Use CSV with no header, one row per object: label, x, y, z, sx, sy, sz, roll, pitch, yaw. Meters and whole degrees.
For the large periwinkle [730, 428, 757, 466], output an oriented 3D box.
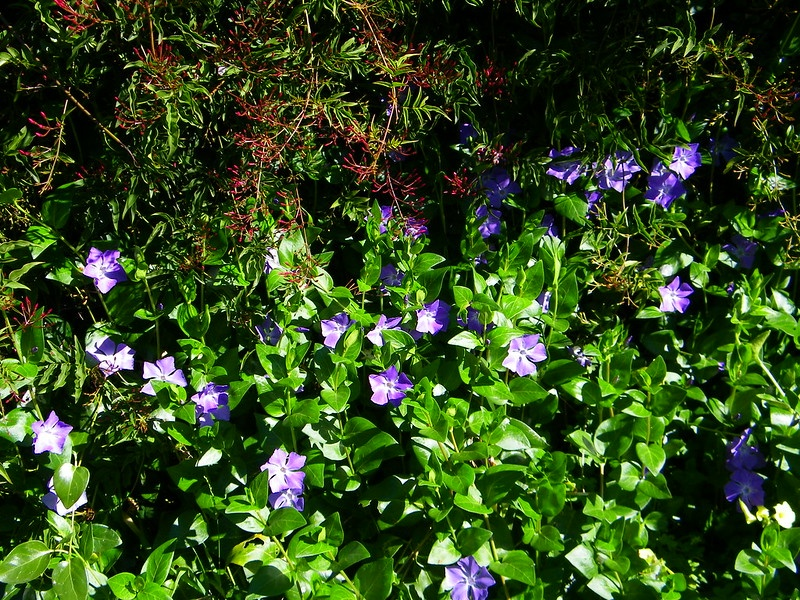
large periwinkle,1.190,0.514,2.687,0.087,0.034,0.127,7,78,6
